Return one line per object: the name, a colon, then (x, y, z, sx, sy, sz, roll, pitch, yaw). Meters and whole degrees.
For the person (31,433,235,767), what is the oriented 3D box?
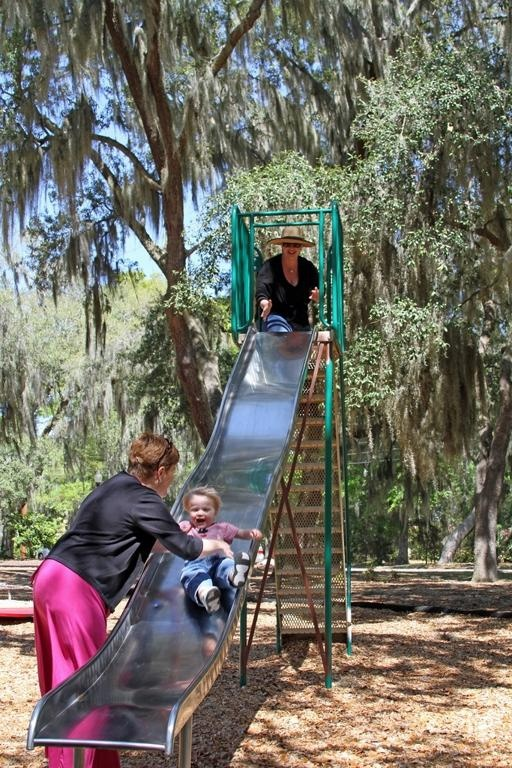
person: (-0.463, 0.748, 2.672, 0.583, 1.114, 0.431, -5, 8, -22)

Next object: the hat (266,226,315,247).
hat: (0.264, -1.236, 6.521, 0.344, 0.203, 0.763, -3, 7, 1)

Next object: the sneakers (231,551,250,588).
sneakers: (-0.073, 0.730, 3.097, 0.056, 0.153, 0.052, 3, 0, -1)

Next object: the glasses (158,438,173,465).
glasses: (-0.324, 0.242, 2.782, 0.026, 0.084, 0.049, 10, -14, -42)

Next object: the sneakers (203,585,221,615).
sneakers: (-0.182, 0.882, 3.178, 0.042, 0.161, 0.057, -1, 10, -23)
